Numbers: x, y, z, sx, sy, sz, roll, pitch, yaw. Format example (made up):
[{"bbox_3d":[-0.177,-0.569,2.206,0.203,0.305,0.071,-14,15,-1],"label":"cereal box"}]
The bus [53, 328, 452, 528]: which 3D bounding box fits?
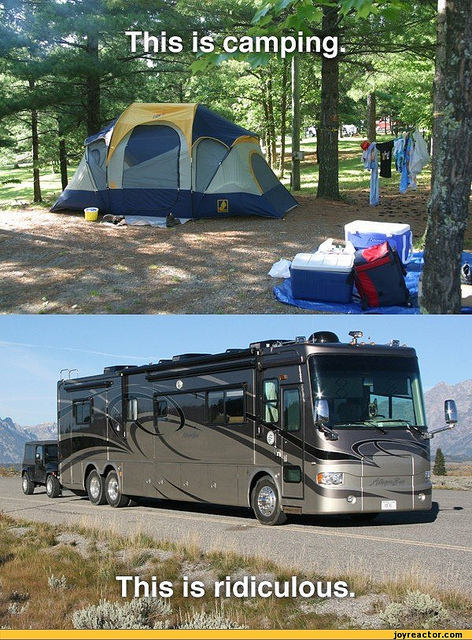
[{"bbox_3d":[-0.360,1.891,10.737,2.280,2.280,7.718,8,-14,-35],"label":"bus"}]
